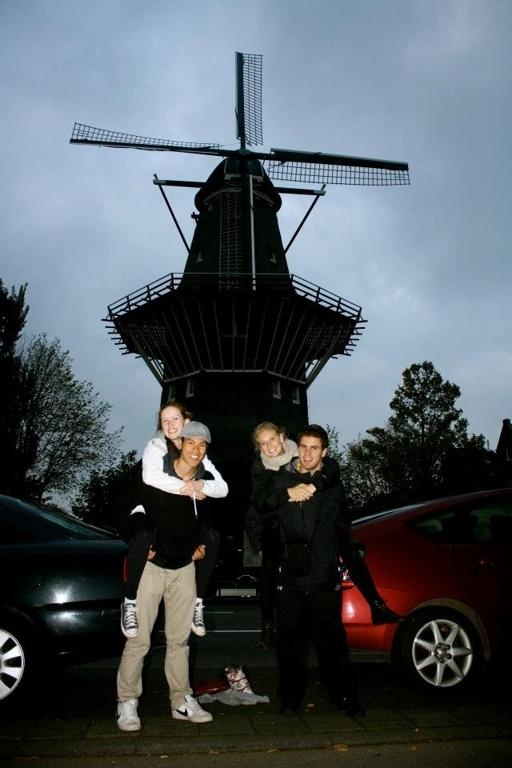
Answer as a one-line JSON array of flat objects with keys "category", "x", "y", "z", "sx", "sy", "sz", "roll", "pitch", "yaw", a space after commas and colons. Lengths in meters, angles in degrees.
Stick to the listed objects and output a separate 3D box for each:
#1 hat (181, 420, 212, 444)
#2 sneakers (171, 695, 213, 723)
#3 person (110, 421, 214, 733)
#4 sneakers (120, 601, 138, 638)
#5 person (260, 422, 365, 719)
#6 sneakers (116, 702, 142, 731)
[{"category": "hat", "x": -0.393, "y": 0.309, "z": 4.110, "sx": 0.143, "sy": 0.099, "sz": 0.189, "roll": 7, "pitch": -14, "yaw": -10}, {"category": "sneakers", "x": -0.398, "y": 2.060, "z": 3.981, "sx": 0.255, "sy": 0.144, "sz": 0.119, "roll": -3, "pitch": -16, "yaw": 14}, {"category": "person", "x": -0.550, "y": 1.402, "z": 3.970, "sx": 0.584, "sy": 1.485, "sz": 0.451, "roll": 4, "pitch": -5, "yaw": -20}, {"category": "sneakers", "x": -0.770, "y": 1.434, "z": 3.888, "sx": 0.091, "sy": 0.265, "sz": 0.105, "roll": 8, "pitch": -49, "yaw": -26}, {"category": "person", "x": 0.358, "y": 1.214, "z": 4.218, "sx": 0.676, "sy": 1.861, "sz": 0.398, "roll": 3, "pitch": -5, "yaw": 0}, {"category": "sneakers", "x": -0.754, "y": 1.971, "z": 3.735, "sx": 0.134, "sy": 0.125, "sz": 0.212, "roll": 3, "pitch": -4, "yaw": -11}]
